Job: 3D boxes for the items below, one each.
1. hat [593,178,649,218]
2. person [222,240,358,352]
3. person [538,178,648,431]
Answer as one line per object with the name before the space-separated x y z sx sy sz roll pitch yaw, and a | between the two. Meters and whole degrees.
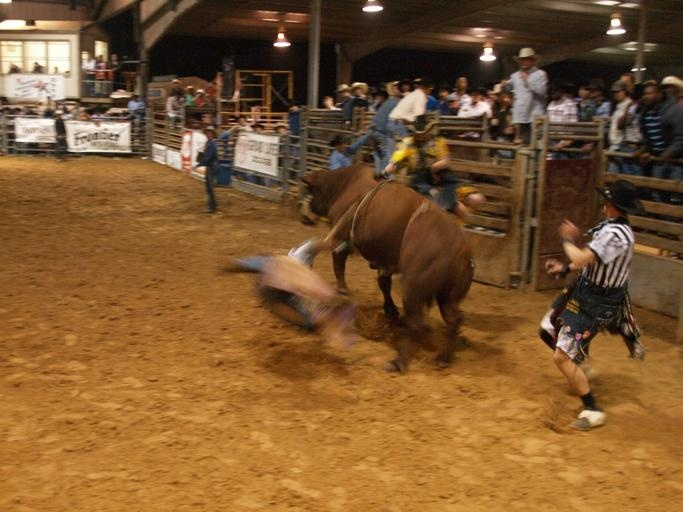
hat | 2.220 -0.467 4.502 0.464 0.123 0.382 3 26 -22
person | -0.322 0.355 5.570 1.692 0.412 1.045 18 21 14
person | 2.110 0.401 4.648 0.866 2.063 0.578 8 15 16
